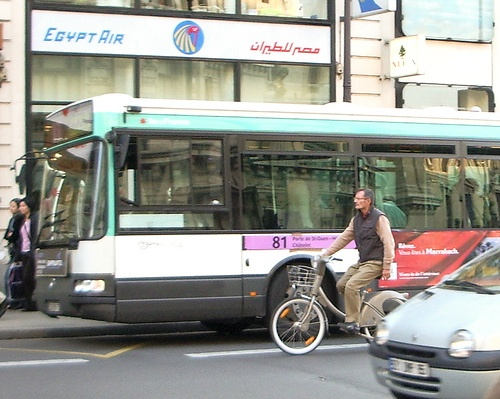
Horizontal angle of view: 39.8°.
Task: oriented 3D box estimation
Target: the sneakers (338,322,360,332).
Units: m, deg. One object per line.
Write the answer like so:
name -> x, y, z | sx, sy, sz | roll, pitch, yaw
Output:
sneakers -> 1.360, 1.723, 9.296 | 0.317, 0.123, 0.113 | 9, 1, 19

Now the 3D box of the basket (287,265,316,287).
basket -> 0.724, 1.061, 9.631 | 0.406, 0.187, 0.306 | 5, -11, -11
